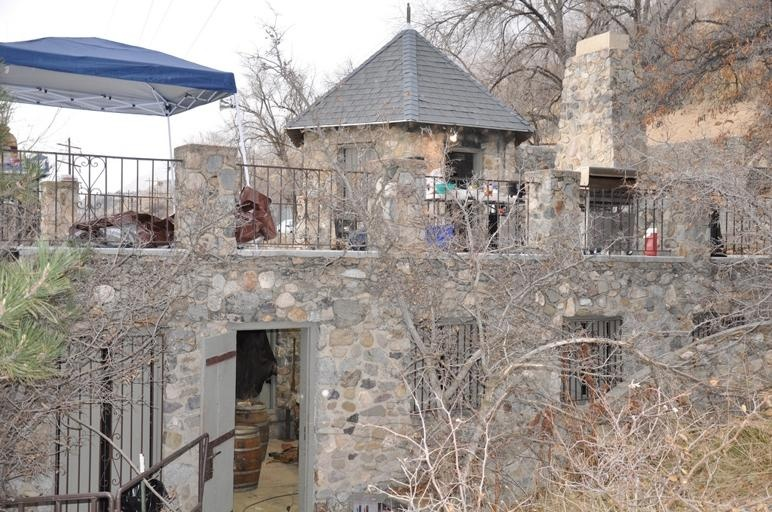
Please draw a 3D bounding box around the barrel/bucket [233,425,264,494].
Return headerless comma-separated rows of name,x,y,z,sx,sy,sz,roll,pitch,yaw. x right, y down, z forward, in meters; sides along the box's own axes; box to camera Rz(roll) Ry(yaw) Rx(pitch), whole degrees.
barrel/bucket,-2.827,4.123,16.934,0.671,1.286,0.350,2,-3,-32
